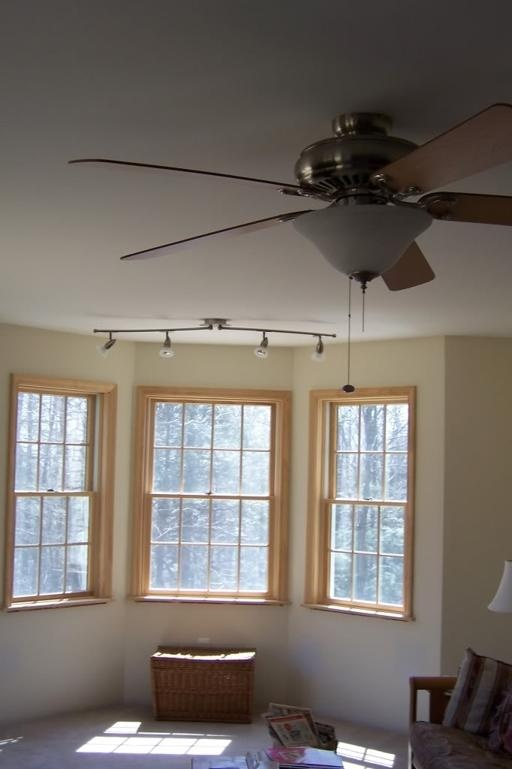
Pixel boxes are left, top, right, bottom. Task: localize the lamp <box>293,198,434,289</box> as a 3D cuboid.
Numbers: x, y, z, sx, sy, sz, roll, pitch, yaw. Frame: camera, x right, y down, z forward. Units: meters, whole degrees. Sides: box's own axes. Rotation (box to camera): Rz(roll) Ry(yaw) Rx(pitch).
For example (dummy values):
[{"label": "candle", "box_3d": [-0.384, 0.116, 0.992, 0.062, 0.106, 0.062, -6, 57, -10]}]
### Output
[{"label": "lamp", "box_3d": [0.239, -0.335, 1.566, 0.219, 0.090, 0.237, 2, -17, -5]}]
